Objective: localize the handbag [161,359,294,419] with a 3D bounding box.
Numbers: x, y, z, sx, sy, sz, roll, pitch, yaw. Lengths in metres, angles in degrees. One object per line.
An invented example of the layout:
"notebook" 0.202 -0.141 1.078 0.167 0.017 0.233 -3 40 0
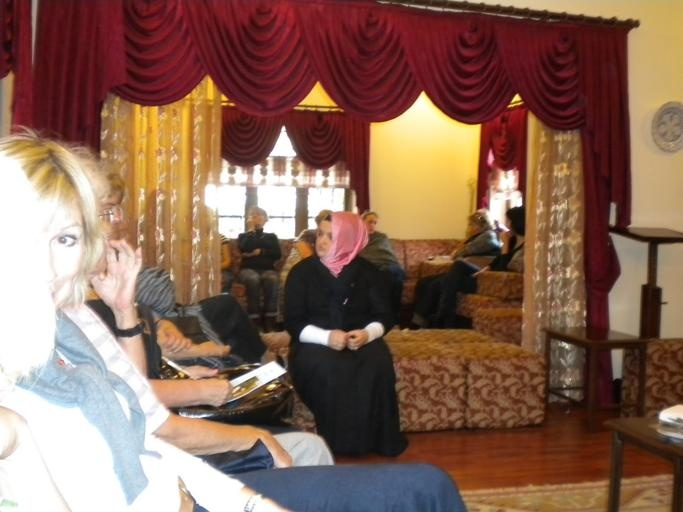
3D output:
"handbag" -0.387 0.511 2.238 0.332 0.127 0.252 -1 -22 -5

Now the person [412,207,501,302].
"person" 1.220 -0.010 6.647 0.530 0.429 0.971 11 38 11

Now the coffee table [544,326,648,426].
"coffee table" 1.583 0.748 3.868 0.656 0.502 0.409 10 -9 -37
